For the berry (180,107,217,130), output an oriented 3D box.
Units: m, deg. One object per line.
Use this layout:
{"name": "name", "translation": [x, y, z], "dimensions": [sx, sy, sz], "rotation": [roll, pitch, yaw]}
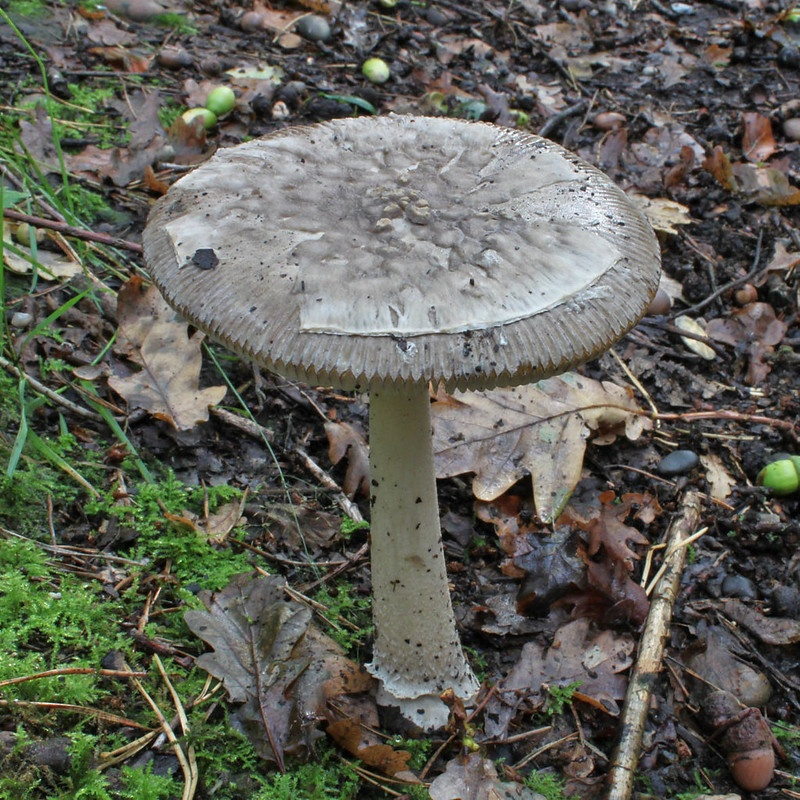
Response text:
{"name": "berry", "translation": [-1.449, -2.070, 6.534], "dimensions": [0.280, 0.133, 0.140], "rotation": [-1, 38, -19]}
